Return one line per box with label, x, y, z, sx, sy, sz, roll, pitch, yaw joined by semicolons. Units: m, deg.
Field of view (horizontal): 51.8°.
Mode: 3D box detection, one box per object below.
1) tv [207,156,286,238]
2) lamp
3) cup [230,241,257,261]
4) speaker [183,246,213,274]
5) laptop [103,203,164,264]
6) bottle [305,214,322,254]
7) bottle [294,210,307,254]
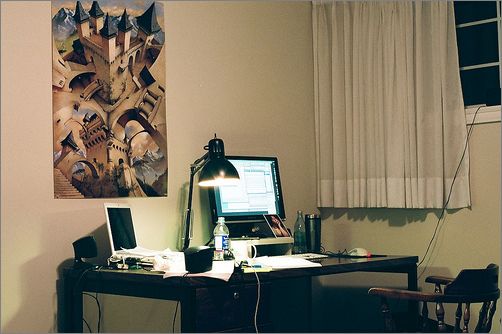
tv;-0.040;0.231;3.885;0.571;0.539;0.284;5;-14;-39
lamp;-0.301;0.188;3.734;0.397;0.832;0.584;-4;3;-30
cup;-0.035;0.577;3.602;0.176;0.129;0.114;-3;-7;31
speaker;-0.312;0.554;3.112;0.152;0.135;0.153;-3;-6;-7
laptop;-0.808;0.445;3.528;0.379;0.278;0.376;3;-4;13
bottle;0.508;0.524;4.074;0.126;0.280;0.251;-2;2;6
bottle;0.395;0.510;4.034;0.083;0.304;0.142;-2;3;9
